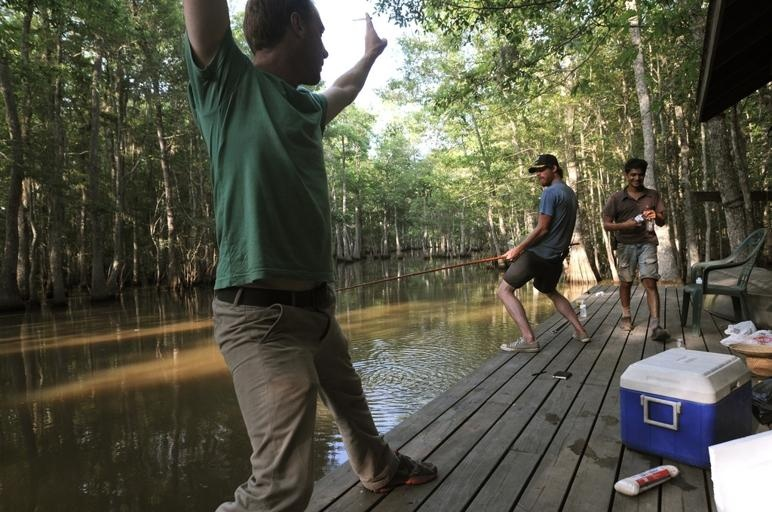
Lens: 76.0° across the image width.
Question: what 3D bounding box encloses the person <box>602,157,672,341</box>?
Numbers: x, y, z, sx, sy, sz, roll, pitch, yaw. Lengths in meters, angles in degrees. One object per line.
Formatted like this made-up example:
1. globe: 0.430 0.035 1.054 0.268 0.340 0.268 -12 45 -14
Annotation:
1. person: 3.748 -0.161 7.417 0.993 2.668 0.848 0 1 18

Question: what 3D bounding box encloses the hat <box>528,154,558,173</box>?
1. hat: 2.213 -1.286 6.928 0.373 0.210 0.265 -1 2 -10

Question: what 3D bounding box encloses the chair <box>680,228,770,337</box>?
1. chair: 4.933 0.341 7.199 1.173 1.734 1.257 0 2 38

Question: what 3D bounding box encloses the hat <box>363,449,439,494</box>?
1. hat: 0.154 1.802 4.048 0.729 0.295 0.320 -2 4 -14

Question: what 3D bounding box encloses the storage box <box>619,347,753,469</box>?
1. storage box: 2.588 1.172 4.360 0.971 0.877 0.893 -3 -1 -42
